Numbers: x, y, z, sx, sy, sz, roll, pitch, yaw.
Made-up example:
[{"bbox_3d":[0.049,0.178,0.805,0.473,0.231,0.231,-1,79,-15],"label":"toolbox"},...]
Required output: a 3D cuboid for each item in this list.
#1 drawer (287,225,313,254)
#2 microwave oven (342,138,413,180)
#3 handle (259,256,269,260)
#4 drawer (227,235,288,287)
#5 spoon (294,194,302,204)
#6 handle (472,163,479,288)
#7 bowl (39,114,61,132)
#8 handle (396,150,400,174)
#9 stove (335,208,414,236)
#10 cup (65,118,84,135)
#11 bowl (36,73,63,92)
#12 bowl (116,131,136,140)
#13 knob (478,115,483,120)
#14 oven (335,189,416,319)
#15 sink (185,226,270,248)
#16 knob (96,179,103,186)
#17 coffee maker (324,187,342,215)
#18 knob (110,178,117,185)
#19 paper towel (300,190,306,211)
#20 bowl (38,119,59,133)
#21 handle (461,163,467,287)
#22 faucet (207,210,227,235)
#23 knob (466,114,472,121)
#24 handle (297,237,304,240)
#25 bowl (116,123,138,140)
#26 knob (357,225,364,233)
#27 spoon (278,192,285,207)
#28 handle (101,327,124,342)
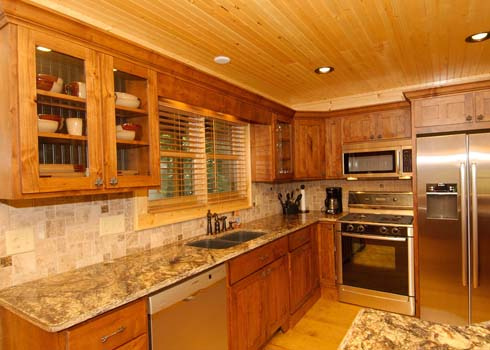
[{"bbox_3d":[0.642,0.735,4.172,0.227,0.126,0.370,-4,-1,32],"label":"drawer"},{"bbox_3d":[1.810,-0.188,4.842,0.885,0.507,0.503,-1,4,27],"label":"microwave oven"},{"bbox_3d":[0.177,0.805,3.472,0.021,0.022,0.082,-5,-3,40],"label":"handle"},{"bbox_3d":[-0.165,0.858,3.707,0.856,0.203,0.958,-8,2,40],"label":"drawer"},{"bbox_3d":[0.775,0.330,5.146,0.040,0.113,0.045,30,33,-8],"label":"spoon"},{"bbox_3d":[2.462,0.540,3.816,0.061,1.331,0.033,-2,1,28],"label":"handle"},{"bbox_3d":[-1.349,-0.373,2.479,0.098,0.068,0.088,1,4,12],"label":"bowl"},{"bbox_3d":[1.924,-0.163,4.493,0.038,0.295,0.022,-2,1,13],"label":"handle"},{"bbox_3d":[1.666,0.567,4.494,0.962,0.275,0.705,5,4,27],"label":"stove"},{"bbox_3d":[-1.223,-0.349,2.580,0.119,0.118,0.110,0,-3,0],"label":"cup"},{"bbox_3d":[-1.347,-0.637,2.475,0.119,0.072,0.122,1,1,0],"label":"bowl"},{"bbox_3d":[-0.943,-0.314,2.859,0.026,0.070,0.164,-1,0,31],"label":"bowl"},{"bbox_3d":[2.510,-0.613,3.800,0.053,0.047,0.013,-5,-8,34],"label":"knob"},{"bbox_3d":[1.710,0.930,4.604,0.968,1.407,0.768,-1,2,25],"label":"oven"},{"bbox_3d":[-0.174,0.673,3.672,0.395,0.166,0.834,-1,1,43],"label":"sink"},{"bbox_3d":[-1.070,0.063,2.648,0.029,0.049,0.028,2,12,2],"label":"knob"},{"bbox_3d":[1.265,0.359,5.088,0.242,0.270,0.285,-2,1,13],"label":"coffee maker"},{"bbox_3d":[-1.001,0.052,2.723,0.044,0.023,0.042,-3,17,-14],"label":"knob"},{"bbox_3d":[0.869,0.369,5.340,0.075,0.227,0.254,-2,1,15],"label":"paper towel"},{"bbox_3d":[-1.360,-0.337,2.465,0.094,0.059,0.093,-1,2,0],"label":"bowl"},{"bbox_3d":[2.369,0.542,3.855,0.060,1.339,0.041,-2,1,20],"label":"handle"},{"bbox_3d":[-0.276,0.494,3.881,0.160,0.223,0.352,-2,1,28],"label":"faucet"},{"bbox_3d":[2.422,-0.615,3.850,0.078,0.071,0.019,1,-4,28],"label":"knob"},{"bbox_3d":[0.646,0.742,4.172,0.030,0.035,0.056,3,2,40],"label":"handle"},{"bbox_3d":[-0.947,-0.343,2.849,0.136,0.084,0.122,-1,5,-7],"label":"bowl"},{"bbox_3d":[1.426,0.663,4.389,0.064,0.080,0.028,5,8,24],"label":"knob"},{"bbox_3d":[0.519,0.353,5.078,0.088,0.147,0.186,-2,0,4],"label":"spoon"},{"bbox_3d":[-0.853,1.021,2.321,0.042,0.039,0.144,18,20,32],"label":"handle"}]
